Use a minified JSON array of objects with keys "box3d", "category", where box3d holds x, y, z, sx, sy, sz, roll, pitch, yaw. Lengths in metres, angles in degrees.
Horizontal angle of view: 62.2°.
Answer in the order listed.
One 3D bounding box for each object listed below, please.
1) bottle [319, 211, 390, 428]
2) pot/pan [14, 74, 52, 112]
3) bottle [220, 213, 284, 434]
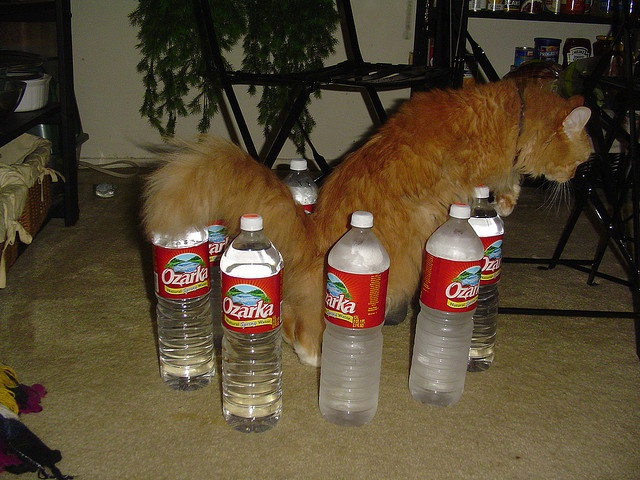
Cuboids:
[{"box3d":[0.081,0.203,1.352,0.167,0.549,0.158,0,24,0],"category":"bottle"},{"box3d":[-1.177,-0.619,2.222,0.152,0.114,0.151,-2,20,-10],"category":"pot/pan"},{"box3d":[-0.184,0.196,1.361,0.176,0.549,0.241,-6,25,-12],"category":"bottle"}]
